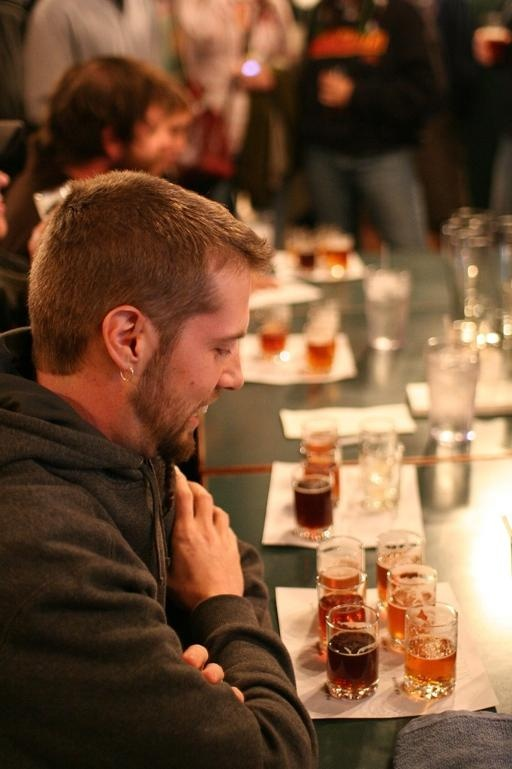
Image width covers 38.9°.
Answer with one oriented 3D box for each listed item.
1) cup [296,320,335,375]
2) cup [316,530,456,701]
[{"bbox_3d":[0.183,-0.101,2.092,0.098,0.095,0.140,3,92,23],"label":"cup"},{"bbox_3d":[0.166,0.304,0.974,0.173,0.246,0.156,-4,89,1],"label":"cup"}]
